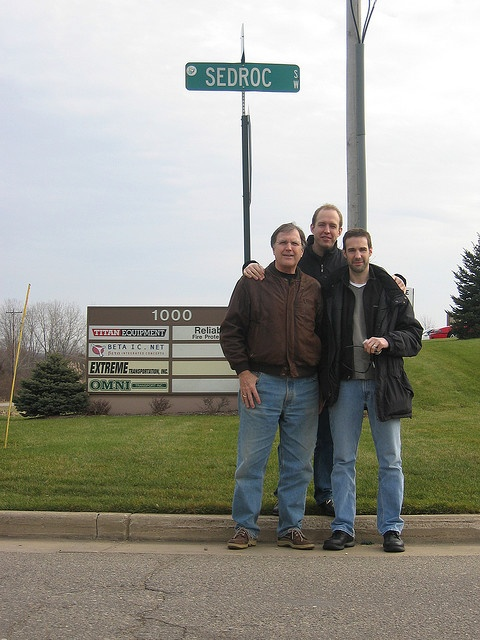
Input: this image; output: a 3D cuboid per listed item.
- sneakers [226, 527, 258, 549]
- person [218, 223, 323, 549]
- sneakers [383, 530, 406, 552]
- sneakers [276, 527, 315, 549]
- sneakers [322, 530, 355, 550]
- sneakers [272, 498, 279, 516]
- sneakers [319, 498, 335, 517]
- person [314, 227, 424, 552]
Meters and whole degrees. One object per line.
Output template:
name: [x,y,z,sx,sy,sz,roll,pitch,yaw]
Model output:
sneakers: [0.004,1.470,5.326,0.082,0.120,0.230,-6,-15,20]
person: [0.222,0.432,5.480,0.698,2.223,0.410,0,-1,6]
sneakers: [1.020,1.471,5.290,0.150,0.130,0.128,-1,0,22]
sneakers: [0.381,1.484,5.428,0.259,0.147,0.107,-1,-3,26]
sneakers: [0.664,1.475,5.332,0.091,0.105,0.233,-5,-12,32]
sneakers: [0.270,1.401,5.954,0.051,0.125,0.166,3,-4,-3]
sneakers: [0.647,1.392,5.893,0.062,0.086,0.171,3,-9,-27]
person: [0.903,0.453,5.473,0.680,2.194,0.544,0,-1,12]
